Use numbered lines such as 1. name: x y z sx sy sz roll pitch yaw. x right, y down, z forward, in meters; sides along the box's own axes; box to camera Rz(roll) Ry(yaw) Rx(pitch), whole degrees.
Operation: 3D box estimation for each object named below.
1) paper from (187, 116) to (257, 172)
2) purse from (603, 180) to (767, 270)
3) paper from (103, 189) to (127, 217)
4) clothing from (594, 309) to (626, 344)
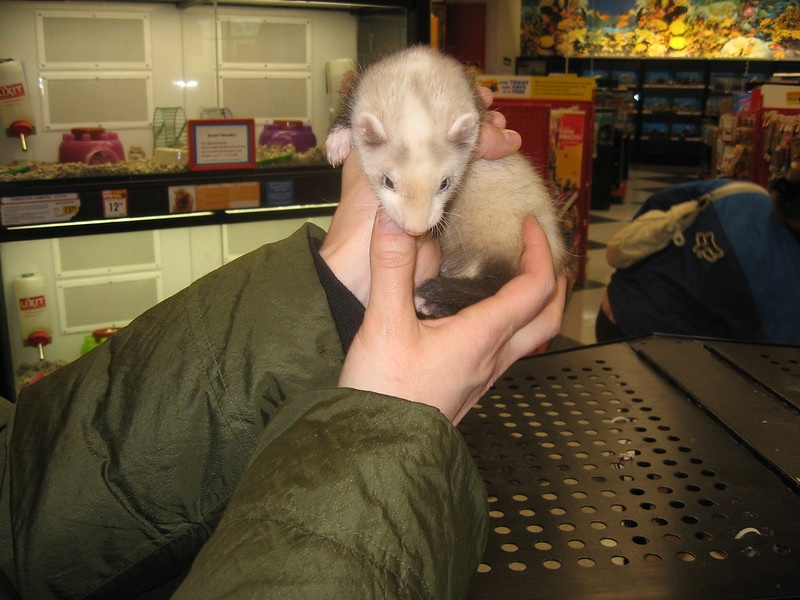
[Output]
1. paper: -0.920 -0.787 3.439 0.299 0.210 0.041 -5 9 -26
2. purse: 1.506 -0.411 3.515 0.883 0.321 0.270 -17 42 27
3. paper: -1.360 -0.461 3.218 0.119 0.149 0.020 -10 24 -32
4. clothing: 1.105 0.139 3.543 0.101 0.121 0.167 -7 -28 17
